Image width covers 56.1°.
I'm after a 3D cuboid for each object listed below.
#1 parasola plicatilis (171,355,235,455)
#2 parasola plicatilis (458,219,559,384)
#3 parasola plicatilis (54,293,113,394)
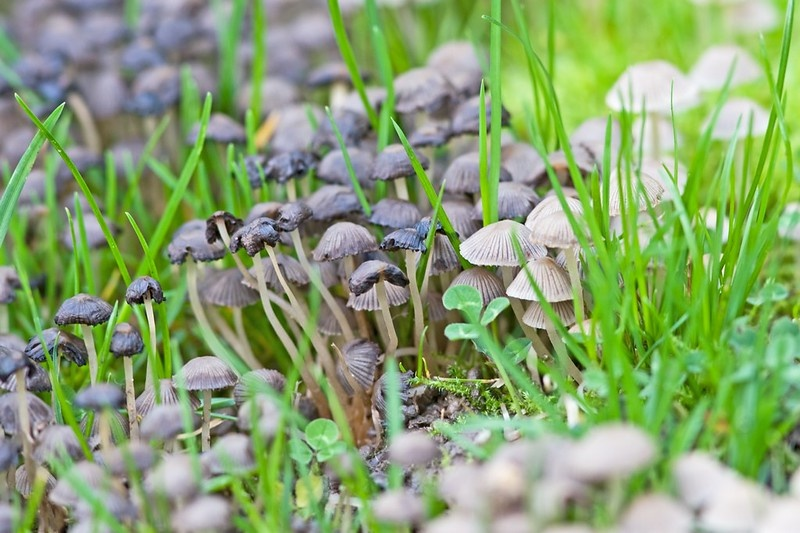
[{"bbox_3d":[-0.557,0.399,2.112,0.132,0.231,0.161,22,34,28],"label":"parasola plicatilis"},{"bbox_3d":[0.309,0.095,2.151,0.243,0.423,0.280,-37,34,-16],"label":"parasola plicatilis"},{"bbox_3d":[-0.928,0.236,2.193,0.155,0.281,0.170,2,32,3],"label":"parasola plicatilis"}]
